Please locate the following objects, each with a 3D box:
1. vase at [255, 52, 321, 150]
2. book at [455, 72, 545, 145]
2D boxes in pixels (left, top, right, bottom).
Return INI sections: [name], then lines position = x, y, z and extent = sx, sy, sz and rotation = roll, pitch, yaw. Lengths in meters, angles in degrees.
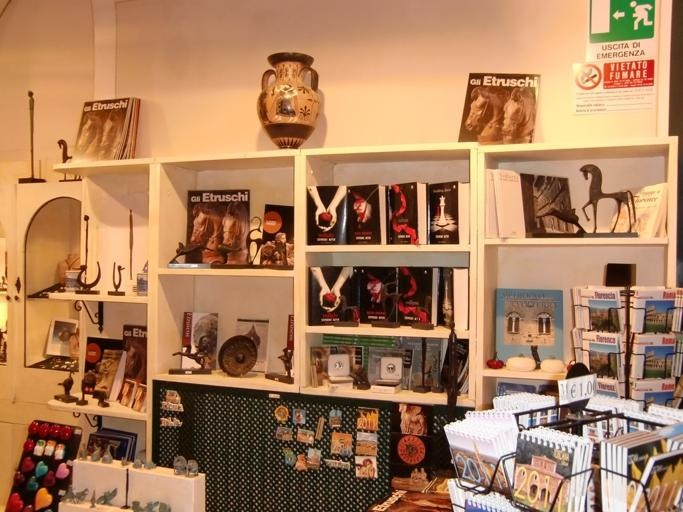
[vase]
position = -0.313, -0.872, 3.243
extent = 0.353, 0.546, 0.201
rotation = -1, -4, -2
[book]
position = 0.879, -0.792, 3.051
extent = 0.416, 0.486, 0.062
rotation = 7, -18, 25
